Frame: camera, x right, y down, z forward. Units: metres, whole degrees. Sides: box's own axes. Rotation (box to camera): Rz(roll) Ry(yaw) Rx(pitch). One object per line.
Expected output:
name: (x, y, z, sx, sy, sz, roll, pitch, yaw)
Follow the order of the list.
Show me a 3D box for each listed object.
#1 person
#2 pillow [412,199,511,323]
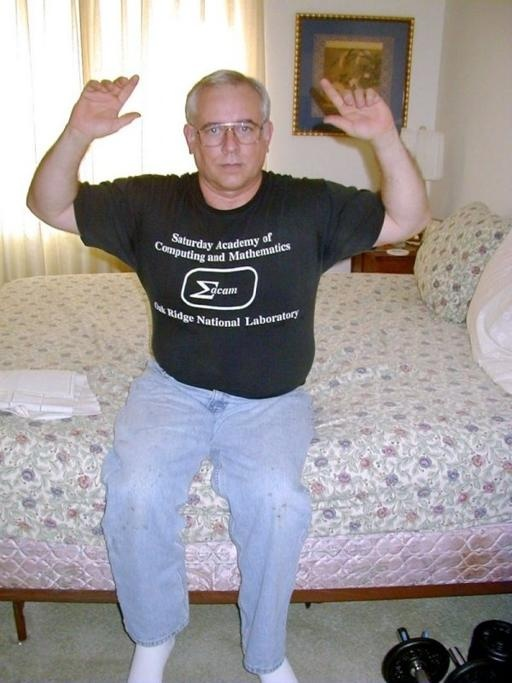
person: (-0.172, 0.002, 1.315, 0.811, 1.104, 0.719, 15, 28, 25)
pillow: (0.726, -0.306, 2.149, 0.220, 0.400, 0.706, 17, 19, 0)
